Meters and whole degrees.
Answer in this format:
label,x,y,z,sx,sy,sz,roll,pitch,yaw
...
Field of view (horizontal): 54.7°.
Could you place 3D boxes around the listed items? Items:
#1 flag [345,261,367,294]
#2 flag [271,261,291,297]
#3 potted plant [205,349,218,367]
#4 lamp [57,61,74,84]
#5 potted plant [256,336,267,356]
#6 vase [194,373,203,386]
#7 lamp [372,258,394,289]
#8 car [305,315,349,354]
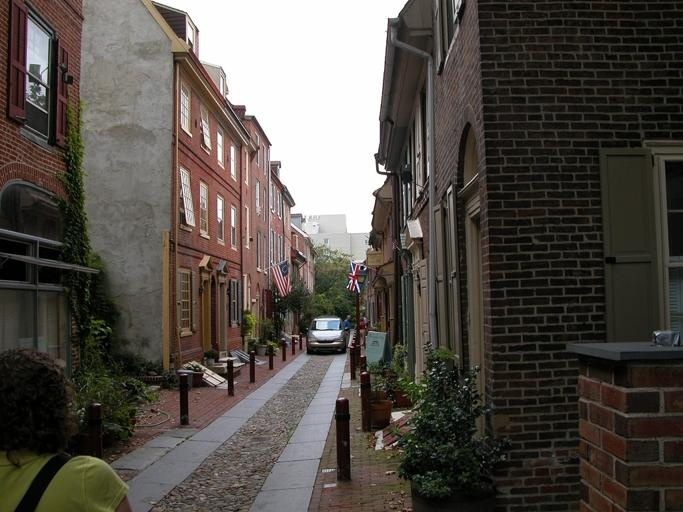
label,x,y,z,sx,sy,sz,roll,pitch,yaw
flag,0.544,0.841,26.317,0.154,1.163,1.496,14,0,30
flag,-2.654,1.022,30.526,0.870,2.693,0.248,-5,-49,-14
potted plant,-3.985,3.114,20.034,0.357,0.483,0.393,0,-1,16
lamp,-5.039,-3.300,12.043,0.135,0.259,0.253,-1,7,-1
potted plant,-3.416,3.837,28.153,0.370,0.760,0.918,-2,-3,10
vase,-3.707,3.162,17.059,0.262,0.323,0.342,3,-8,-21
lamp,1.478,0.618,23.459,0.856,0.871,2.826,9,-11,0
car,-0.712,3.794,31.558,1.349,1.270,3.197,-2,-9,2
